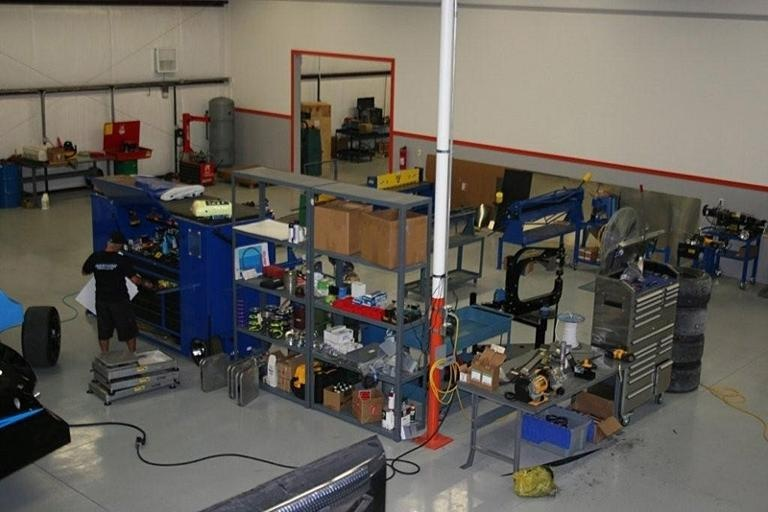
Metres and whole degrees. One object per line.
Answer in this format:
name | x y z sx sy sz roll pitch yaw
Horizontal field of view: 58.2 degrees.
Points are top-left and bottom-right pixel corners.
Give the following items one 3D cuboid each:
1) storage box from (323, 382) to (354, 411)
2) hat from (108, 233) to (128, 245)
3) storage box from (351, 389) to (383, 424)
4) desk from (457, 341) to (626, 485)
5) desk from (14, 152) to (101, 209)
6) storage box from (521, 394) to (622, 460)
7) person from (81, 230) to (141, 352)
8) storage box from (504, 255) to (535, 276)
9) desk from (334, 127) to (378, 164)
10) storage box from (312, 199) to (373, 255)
storage box | -0.563 1.750 8.731 0.254 0.230 0.361 10 16 35
hat | -3.577 -0.215 9.248 0.173 0.130 0.229 16 19 -7
storage box | -0.208 1.843 8.517 0.346 0.276 0.343 0 0 -8
desk | 1.751 1.656 8.065 1.933 1.327 1.130 -9 17 -36
desk | -7.291 -1.674 15.215 1.437 0.702 0.798 -18 32 -38
storage box | 2.115 1.989 7.958 0.743 0.248 0.732 19 31 39
person | -3.748 0.602 9.460 0.755 1.909 0.553 2 20 -15
storage box | 2.141 0.156 10.848 0.417 0.230 0.354 0 7 -22
desk | -0.753 -3.382 21.005 1.162 1.017 1.505 9 15 29
storage box | -0.489 -0.363 8.535 0.647 0.537 0.637 8 17 26
